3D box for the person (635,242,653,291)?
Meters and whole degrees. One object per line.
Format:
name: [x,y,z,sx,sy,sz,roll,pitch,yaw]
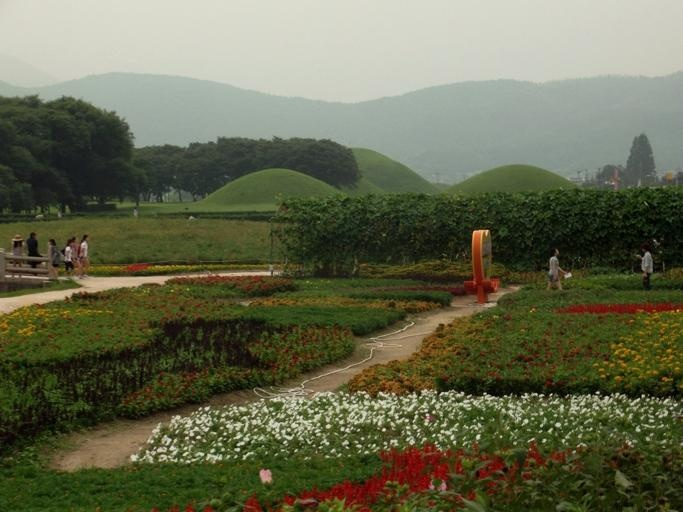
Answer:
person: [8.734,0.225,24.346,0.392,1.172,1.898,1,5,19]
